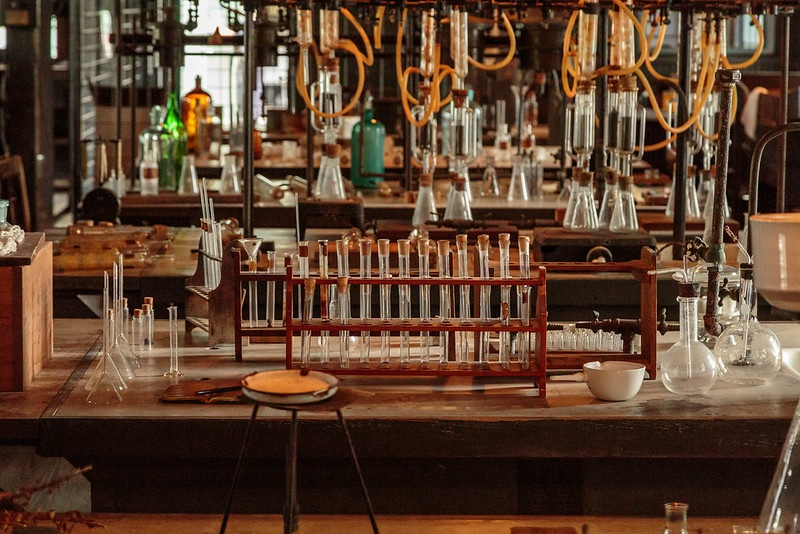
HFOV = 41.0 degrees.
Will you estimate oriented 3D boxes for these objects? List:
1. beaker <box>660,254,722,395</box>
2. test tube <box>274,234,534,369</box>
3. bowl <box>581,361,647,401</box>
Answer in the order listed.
[{"bbox_3d":[1.093,0.256,3.963,0.232,0.427,0.159,0,7,-3],"label":"beaker"},{"bbox_3d":[0.049,-0.087,4.197,1.118,0.662,0.495,0,10,4],"label":"test tube"},{"bbox_3d":[0.795,0.416,3.969,0.219,0.130,0.151,2,8,9],"label":"bowl"}]
